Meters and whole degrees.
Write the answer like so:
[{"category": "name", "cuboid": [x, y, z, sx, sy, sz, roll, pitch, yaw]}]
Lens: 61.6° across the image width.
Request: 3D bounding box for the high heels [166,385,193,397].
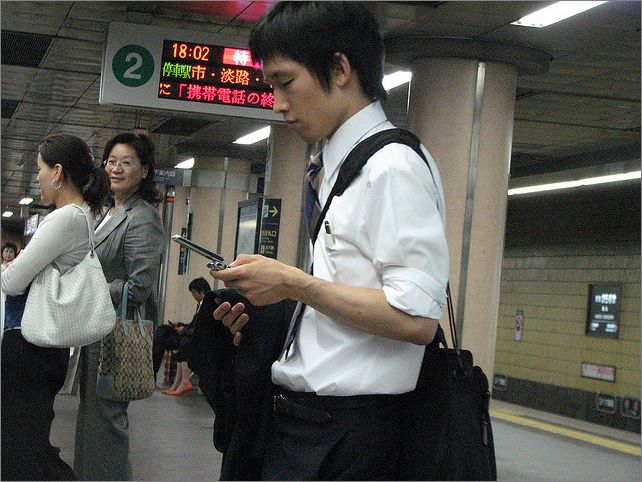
[{"category": "high heels", "cuboid": [-2.381, 2.520, 9.009, 0.357, 0.145, 0.196, 3, -4, -20]}]
